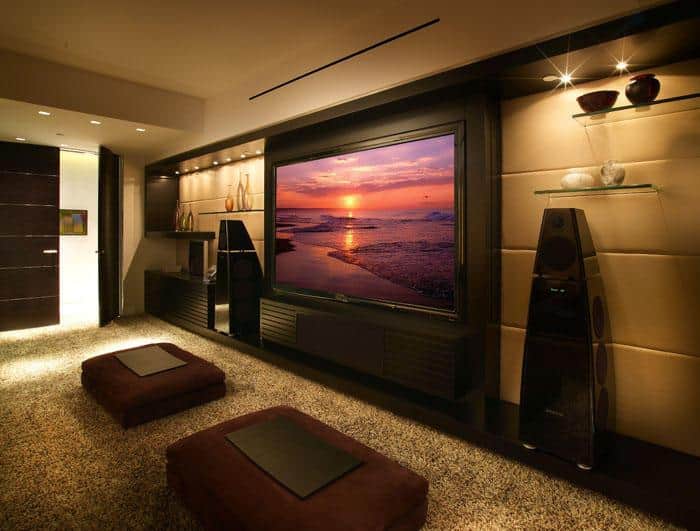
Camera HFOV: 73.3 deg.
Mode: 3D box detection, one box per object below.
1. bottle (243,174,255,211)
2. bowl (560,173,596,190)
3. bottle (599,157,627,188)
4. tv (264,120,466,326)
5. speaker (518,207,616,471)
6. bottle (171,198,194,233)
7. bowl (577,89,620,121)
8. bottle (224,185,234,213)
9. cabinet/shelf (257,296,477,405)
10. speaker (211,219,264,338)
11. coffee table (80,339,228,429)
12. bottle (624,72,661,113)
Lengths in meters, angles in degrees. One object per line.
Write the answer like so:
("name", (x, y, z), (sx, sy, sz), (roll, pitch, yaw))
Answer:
("bottle", (-1.188, -0.858, 5.485), (0.113, 0.394, 0.241), (-3, 14, -11))
("bowl", (1.532, -0.566, 3.128), (0.194, 0.102, 0.161), (10, 17, 31))
("bottle", (1.685, -0.582, 3.003), (0.155, 0.198, 0.163), (-1, 1, 0))
("tv", (0.138, -0.368, 4.044), (1.964, 1.577, 0.211), (12, 18, 38))
("speaker", (1.428, 0.399, 2.962), (0.544, 1.487, 0.626), (9, 16, 32))
("bottle", (-2.371, -0.682, 6.685), (0.270, 0.418, 0.774), (-6, 16, -22))
("bowl", (1.598, -1.014, 3.014), (0.176, 0.085, 0.177), (-2, 0, 0))
("bottle", (-1.480, -0.824, 5.759), (0.098, 0.317, 0.353), (-3, 15, -14))
("cabinet/shelf", (-0.009, 0.629, 4.075), (2.081, 0.490, 0.301), (7, 12, 36))
("speaker", (-1.214, 0.145, 5.071), (0.562, 1.223, 0.521), (-4, 15, -18))
("coffee table", (-1.639, 0.875, 3.809), (0.716, 0.232, 0.991), (24, 9, 20))
("bottle", (1.786, -1.050, 2.894), (0.194, 0.198, 0.189), (0, 5, 14))
